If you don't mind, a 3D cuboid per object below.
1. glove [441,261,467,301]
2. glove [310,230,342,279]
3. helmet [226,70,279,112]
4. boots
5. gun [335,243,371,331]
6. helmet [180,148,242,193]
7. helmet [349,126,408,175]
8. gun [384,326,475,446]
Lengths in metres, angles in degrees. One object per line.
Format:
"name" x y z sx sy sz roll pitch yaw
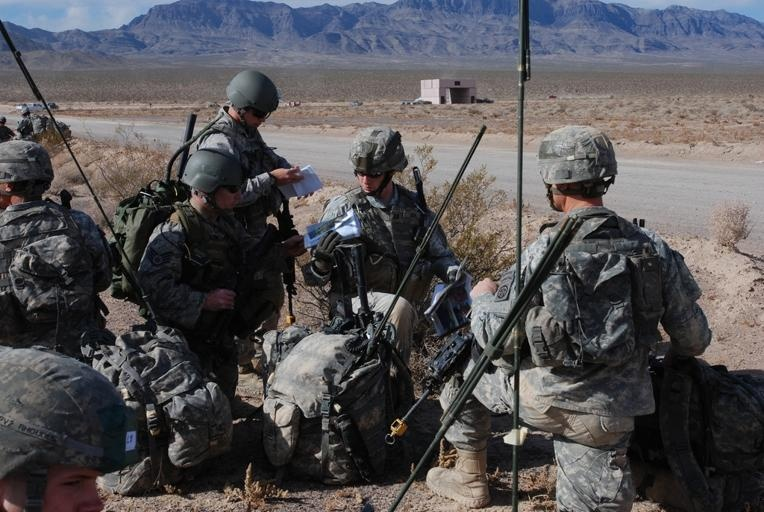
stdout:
"glove" 0.610 0.239 6.122 0.137 0.192 0.457 -14 -18 -1
"glove" -0.468 -0.010 6.459 0.139 0.354 0.263 30 10 30
"helmet" -1.272 -1.603 7.561 0.476 0.391 0.404 13 37 -17
"boots" 0.619 1.675 6.040 0.270 0.478 0.628 -4 14 -39
"gun" -0.233 0.204 6.168 0.181 0.915 0.329 2 23 14
"helmet" -1.388 -0.701 6.276 0.433 0.347 0.338 -9 16 -10
"helmet" -0.004 -0.890 6.695 0.373 0.366 0.480 -3 -12 31
"gun" 0.366 1.052 5.952 0.179 1.184 0.292 37 -3 -1
